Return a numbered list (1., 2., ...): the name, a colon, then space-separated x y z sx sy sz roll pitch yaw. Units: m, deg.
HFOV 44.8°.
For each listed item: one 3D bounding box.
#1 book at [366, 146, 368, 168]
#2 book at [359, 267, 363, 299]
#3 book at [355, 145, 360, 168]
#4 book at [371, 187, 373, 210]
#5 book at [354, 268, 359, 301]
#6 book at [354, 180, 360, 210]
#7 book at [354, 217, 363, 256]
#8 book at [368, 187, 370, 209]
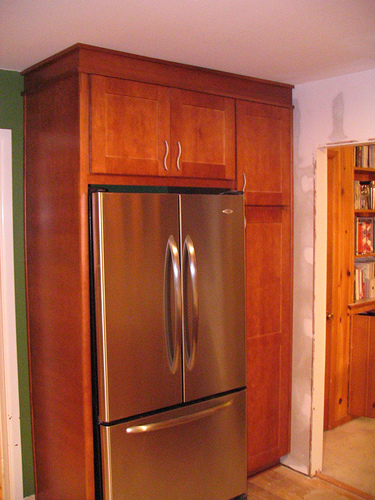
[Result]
1. book: 1.475 -0.771 3.747 0.013 0.174 0.051 -1 3 24
2. book: 1.424 0.276 3.750 0.018 0.255 0.069 0 3 38
3. book: 1.374 -0.757 3.678 0.064 0.170 0.021 -4 3 -42
4. book: 1.550 -0.442 3.834 0.014 0.183 0.060 -1 3 22
5. book: 1.383 0.280 3.722 0.057 0.254 0.024 -3 3 -27
6. book: 1.412 -0.461 3.779 0.034 0.232 0.140 -1 3 28
7. book: 1.396 -0.116 3.724 0.050 0.313 0.218 -1 3 29
8. book: 1.519 -0.417 3.813 0.029 0.128 0.012 -3 3 -31
